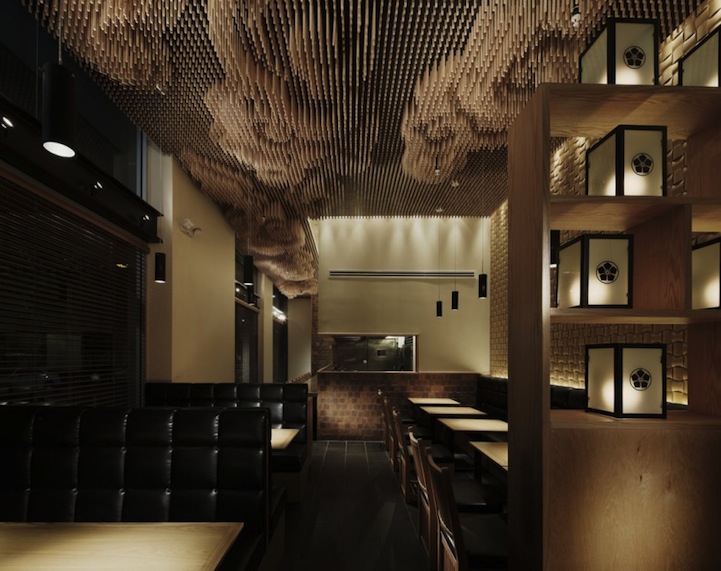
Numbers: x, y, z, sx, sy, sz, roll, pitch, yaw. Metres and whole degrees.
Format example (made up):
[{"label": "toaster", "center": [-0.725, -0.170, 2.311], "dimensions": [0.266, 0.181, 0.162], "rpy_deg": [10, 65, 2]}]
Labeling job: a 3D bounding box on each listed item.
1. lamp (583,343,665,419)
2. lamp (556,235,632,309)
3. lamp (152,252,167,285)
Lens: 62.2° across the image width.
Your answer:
[{"label": "lamp", "center": [1.423, 0.502, 3.204], "dimensions": [0.332, 0.395, 0.286], "rpy_deg": [2, -4, -8]}, {"label": "lamp", "center": [1.222, -0.071, 3.117], "dimensions": [0.365, 0.370, 0.132], "rpy_deg": [-4, -8, 28]}, {"label": "lamp", "center": [-2.082, -0.180, 6.237], "dimensions": [0.133, 0.334, 0.394], "rpy_deg": [3, -8, -19]}]
